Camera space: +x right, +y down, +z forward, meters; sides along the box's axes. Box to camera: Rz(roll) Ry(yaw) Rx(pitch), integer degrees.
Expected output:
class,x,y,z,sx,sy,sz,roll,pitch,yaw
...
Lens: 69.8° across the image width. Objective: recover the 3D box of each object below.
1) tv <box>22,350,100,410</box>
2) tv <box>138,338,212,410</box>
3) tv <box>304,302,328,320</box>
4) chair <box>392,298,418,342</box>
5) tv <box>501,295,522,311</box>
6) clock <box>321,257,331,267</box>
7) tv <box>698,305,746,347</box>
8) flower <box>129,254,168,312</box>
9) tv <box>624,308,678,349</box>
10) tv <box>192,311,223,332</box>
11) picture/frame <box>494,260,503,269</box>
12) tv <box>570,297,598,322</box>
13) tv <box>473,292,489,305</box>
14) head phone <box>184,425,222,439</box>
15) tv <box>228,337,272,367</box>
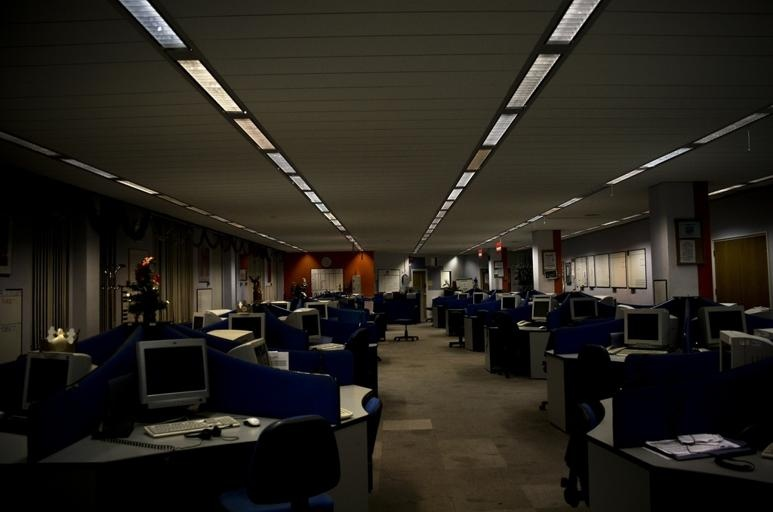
class,x,y,z,sx,sy,sz,roll,pitch,yaw
tv,-2.948,1.082,4.868,0.494,0.353,0.473,-7,-13,-2
tv,-1.914,1.074,4.972,0.633,0.667,0.092,-4,-13,-12
tv,-1.172,1.001,9.405,0.462,0.437,0.244,-1,0,9
chair,0.591,1.896,16.242,0.791,1.153,0.707,-2,-3,9
tv,2.751,1.009,12.217,0.317,0.386,0.564,-1,-1,-28
clock,-2.783,0.316,25.764,0.472,0.465,0.125,-2,-3,19
tv,3.806,0.790,6.299,0.534,0.466,0.263,-1,-1,-1
flower,-2.419,0.290,5.635,0.320,0.575,0.605,0,-3,-22
tv,3.329,0.933,7.034,0.558,0.511,0.549,-3,-8,27
tv,-2.405,0.891,7.502,0.365,0.258,0.188,1,3,35
picture/frame,5.037,0.431,25.011,0.262,0.450,0.498,0,-2,-3
tv,3.301,0.917,9.343,0.422,0.289,0.055,0,-5,-8
tv,2.756,1.320,16.402,0.325,0.418,0.624,2,-8,5
head phone,-1.511,1.470,4.599,0.290,0.082,0.126,0,-3,-16
tv,-1.275,0.949,5.193,0.239,0.276,0.430,-5,-7,1
